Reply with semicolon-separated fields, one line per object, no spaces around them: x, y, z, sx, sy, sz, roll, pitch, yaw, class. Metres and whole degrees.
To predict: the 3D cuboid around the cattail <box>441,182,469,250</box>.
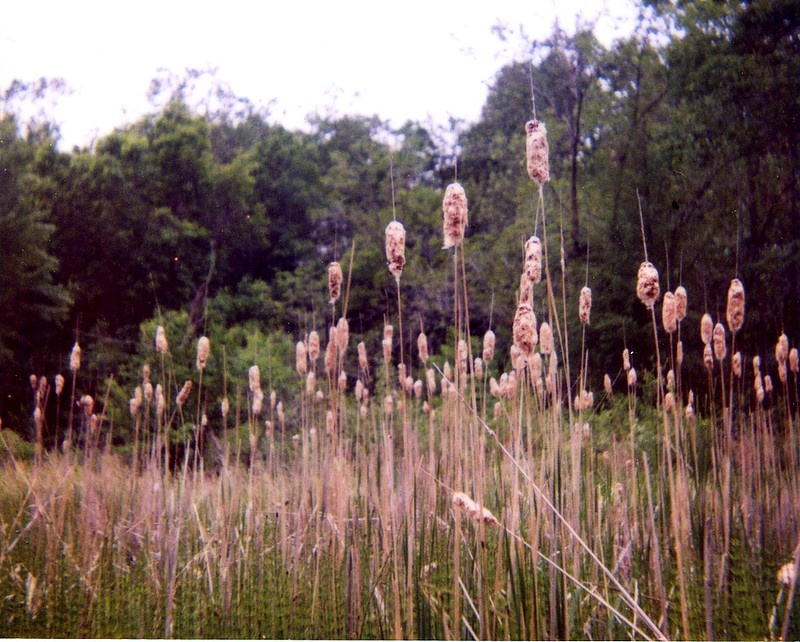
0.365;-0.711;6.356;0.152;0.506;0.233;-2;-11;1;cattail

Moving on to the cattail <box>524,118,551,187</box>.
0.898;-1.133;6.403;0.122;0.499;0.132;-10;-30;23;cattail

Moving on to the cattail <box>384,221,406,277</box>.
-0.035;-0.413;6.369;0.126;0.494;0.143;-1;-23;9;cattail
